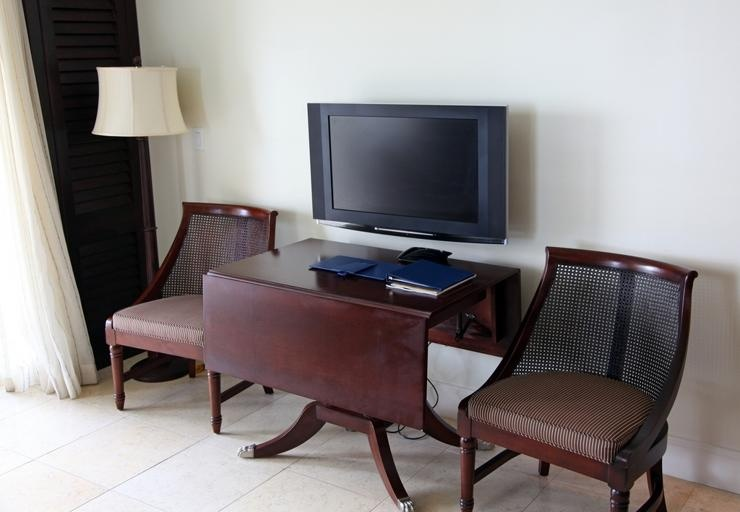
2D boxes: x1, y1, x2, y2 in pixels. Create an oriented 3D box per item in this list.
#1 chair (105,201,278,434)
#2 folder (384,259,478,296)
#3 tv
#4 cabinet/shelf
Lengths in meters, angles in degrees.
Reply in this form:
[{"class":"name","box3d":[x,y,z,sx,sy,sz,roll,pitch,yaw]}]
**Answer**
[{"class":"chair","box3d":[-0.949,0.279,3.294,0.702,1.046,0.761,6,11,15]},{"class":"folder","box3d":[0.281,0.098,2.619,0.287,0.069,0.310,15,21,42]},{"class":"tv","box3d":[0.215,-0.425,2.849,0.733,0.452,0.057,9,26,29]},{"class":"cabinet/shelf","box3d":[-0.008,0.280,2.900,1.551,1.108,1.048,10,22,30]}]
